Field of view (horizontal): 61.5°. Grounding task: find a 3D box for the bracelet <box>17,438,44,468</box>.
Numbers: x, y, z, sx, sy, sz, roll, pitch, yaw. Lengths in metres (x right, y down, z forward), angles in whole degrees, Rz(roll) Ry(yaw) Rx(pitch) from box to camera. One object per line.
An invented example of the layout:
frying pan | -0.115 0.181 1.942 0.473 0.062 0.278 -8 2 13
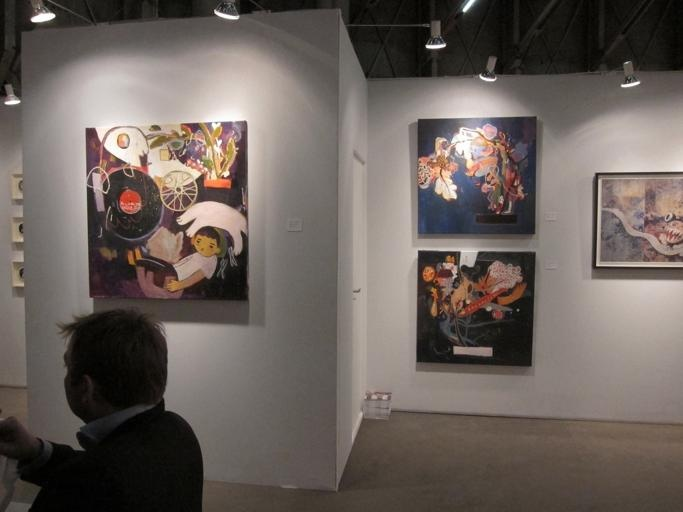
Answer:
bracelet | -1.744 1.098 3.232 0.120 0.123 0.160 1 -9 -5

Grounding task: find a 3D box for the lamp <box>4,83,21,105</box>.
lamp | -3.429 -1.690 5.972 0.119 0.207 0.786 -7 15 -28

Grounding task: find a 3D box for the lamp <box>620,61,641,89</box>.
lamp | 2.835 -1.768 5.614 0.186 0.249 0.499 6 14 26

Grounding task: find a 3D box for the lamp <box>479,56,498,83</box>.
lamp | 1.509 -1.916 5.881 0.175 0.276 0.740 3 14 13
